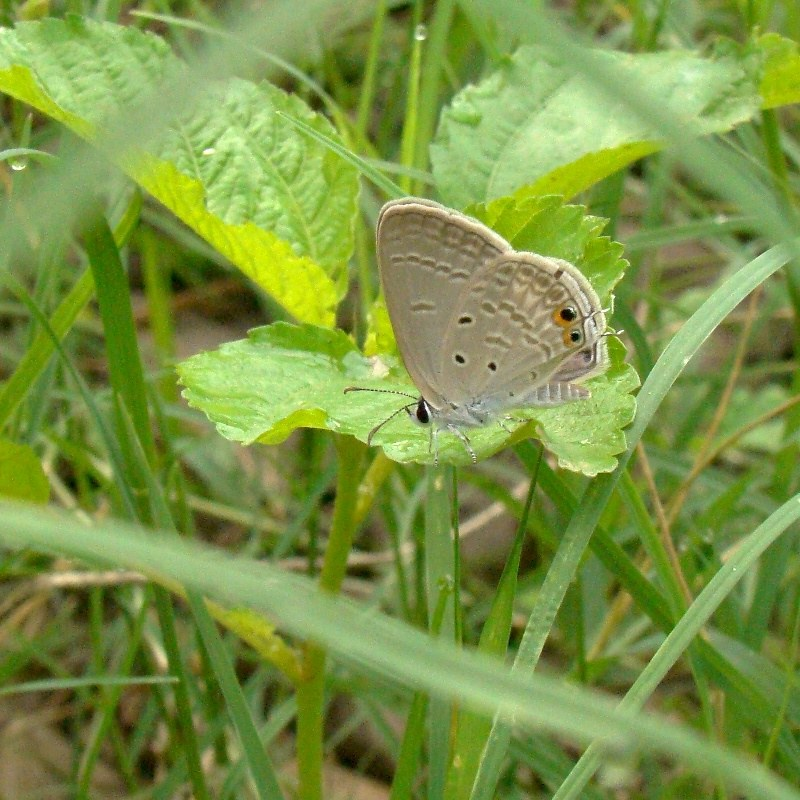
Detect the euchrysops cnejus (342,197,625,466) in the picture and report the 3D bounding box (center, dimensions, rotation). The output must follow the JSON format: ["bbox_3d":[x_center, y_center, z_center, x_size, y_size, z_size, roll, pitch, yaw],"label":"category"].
[{"bbox_3d":[0.184,-0.129,1.814,0.395,0.449,0.326,-6,61,6],"label":"euchrysops cnejus"}]
